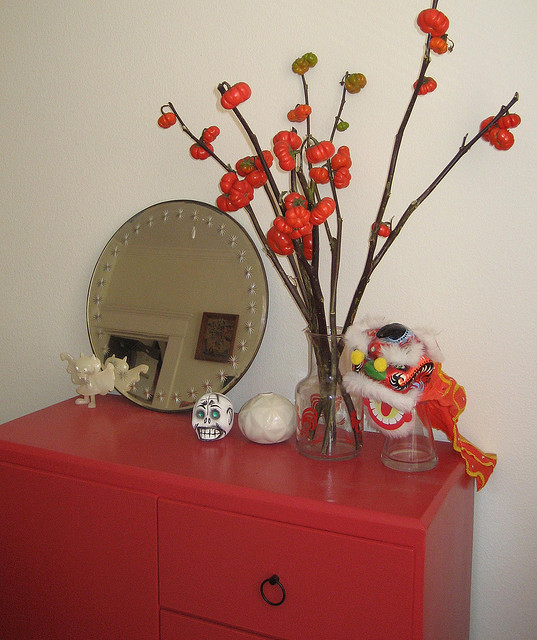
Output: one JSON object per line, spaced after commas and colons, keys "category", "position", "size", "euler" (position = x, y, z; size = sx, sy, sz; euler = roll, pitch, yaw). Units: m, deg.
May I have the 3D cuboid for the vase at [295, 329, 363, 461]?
{"category": "vase", "position": [0.106, 0.121, 1.027], "size": [0.092, 0.243, 0.118], "euler": [1, 5, 12]}

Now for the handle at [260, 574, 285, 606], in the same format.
{"category": "handle", "position": [0.007, 0.413, 0.873], "size": [0.037, 0.056, 0.011], "euler": [12, 8, 37]}

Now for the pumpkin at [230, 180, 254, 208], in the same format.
{"category": "pumpkin", "position": [-0.044, -0.209, 0.943], "size": [0.040, 0.043, 0.056], "euler": [-3, 8, -18]}

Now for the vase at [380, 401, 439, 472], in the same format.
{"category": "vase", "position": [0.245, 0.188, 1.016], "size": [0.095, 0.171, 0.104], "euler": [1, 2, -17]}

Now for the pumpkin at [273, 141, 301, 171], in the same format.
{"category": "pumpkin", "position": [0.033, -0.263, 0.919], "size": [0.032, 0.045, 0.075], "euler": [3, 9, 26]}

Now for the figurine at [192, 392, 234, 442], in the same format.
{"category": "figurine", "position": [-0.108, 0.188, 1.101], "size": [0.057, 0.101, 0.088], "euler": [-1, -10, 8]}

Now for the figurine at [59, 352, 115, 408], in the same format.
{"category": "figurine", "position": [-0.418, 0.138, 1.301], "size": [0.115, 0.139, 0.052], "euler": [6, 26, -6]}

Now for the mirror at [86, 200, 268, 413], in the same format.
{"category": "mirror", "position": [-0.234, -0.033, 1.292], "size": [0.492, 0.473, 0.145], "euler": [5, 9, 33]}
